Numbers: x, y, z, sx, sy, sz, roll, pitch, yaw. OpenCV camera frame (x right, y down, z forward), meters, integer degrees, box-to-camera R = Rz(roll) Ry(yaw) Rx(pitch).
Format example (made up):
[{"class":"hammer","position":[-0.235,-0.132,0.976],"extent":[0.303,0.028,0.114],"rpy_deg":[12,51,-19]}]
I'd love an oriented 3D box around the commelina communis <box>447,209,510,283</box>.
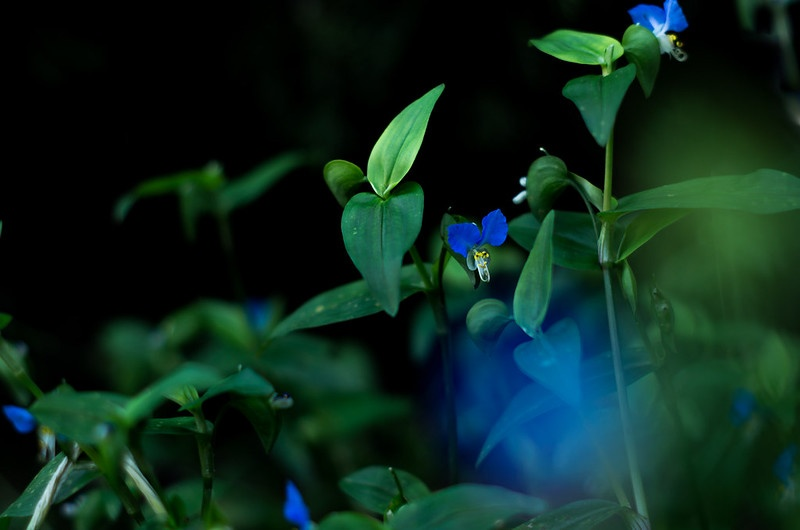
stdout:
[{"class":"commelina communis","position":[0.157,-0.061,1.524],"extent":[0.100,0.164,0.048],"rpy_deg":[-6,14,-15]}]
